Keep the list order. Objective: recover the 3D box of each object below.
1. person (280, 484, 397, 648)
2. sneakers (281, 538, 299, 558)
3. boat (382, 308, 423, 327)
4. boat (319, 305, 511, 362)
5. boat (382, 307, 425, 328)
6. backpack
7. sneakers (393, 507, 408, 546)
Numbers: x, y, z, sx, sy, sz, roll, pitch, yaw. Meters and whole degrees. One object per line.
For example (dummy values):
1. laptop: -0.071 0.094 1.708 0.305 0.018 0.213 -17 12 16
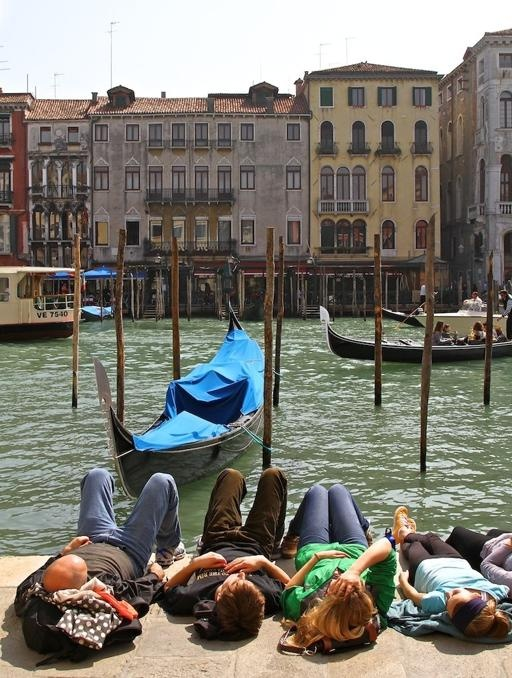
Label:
1. person: 0.444 1.222 5.877 0.594 0.625 1.664 9 15 -2
2. sneakers: 0.216 1.367 6.601 0.052 0.080 0.177 1 5 4
3. boat: 5.380 -0.800 37.935 0.511 0.482 2.631 2 10 -18
4. boat: 3.362 0.097 21.574 5.571 1.051 1.019 -5 4 -38
5. boat: 5.423 -0.770 37.840 0.524 0.524 2.550 2 9 -17
6. backpack: -0.895 1.461 5.259 0.438 0.202 0.385 -2 24 -14
7. sneakers: 0.987 1.288 6.929 0.092 0.351 0.123 7 -12 7
